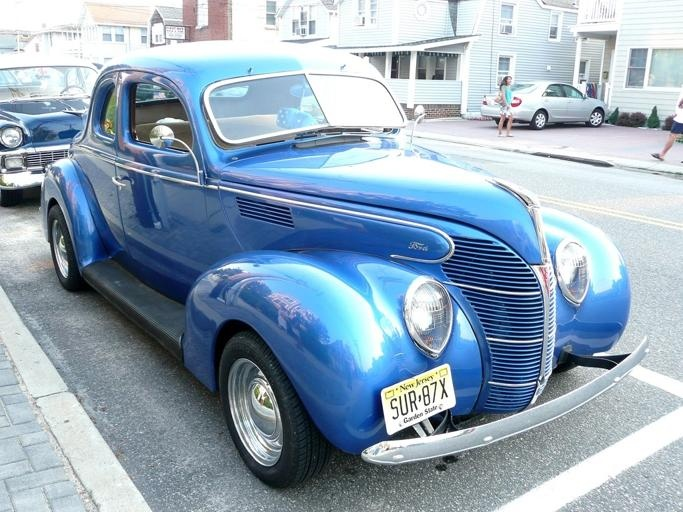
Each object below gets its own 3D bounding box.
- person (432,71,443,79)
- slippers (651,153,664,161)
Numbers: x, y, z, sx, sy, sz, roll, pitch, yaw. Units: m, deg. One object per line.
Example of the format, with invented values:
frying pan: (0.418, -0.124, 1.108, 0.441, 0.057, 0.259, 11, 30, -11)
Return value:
person: (6.573, -12.472, 32.007, 0.722, 0.699, 0.507, 6, 31, -1)
slippers: (9.407, -2.947, 13.816, 0.144, 0.158, 0.388, -4, 39, -19)
